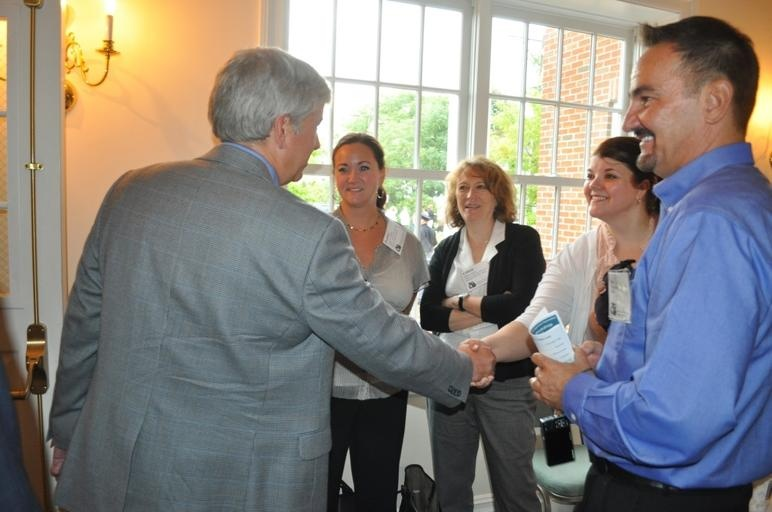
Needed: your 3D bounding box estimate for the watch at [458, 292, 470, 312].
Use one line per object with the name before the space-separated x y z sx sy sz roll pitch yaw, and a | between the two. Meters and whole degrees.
watch | 0.366 0.237 3.074 0.051 0.082 0.079 1 2 38
